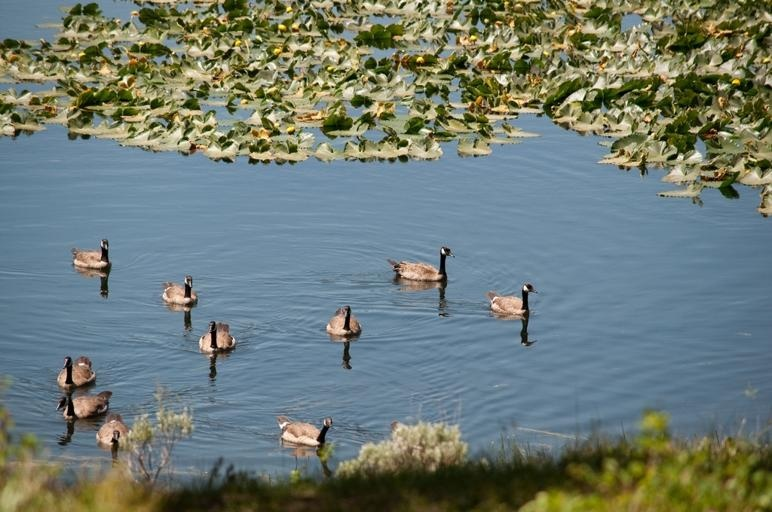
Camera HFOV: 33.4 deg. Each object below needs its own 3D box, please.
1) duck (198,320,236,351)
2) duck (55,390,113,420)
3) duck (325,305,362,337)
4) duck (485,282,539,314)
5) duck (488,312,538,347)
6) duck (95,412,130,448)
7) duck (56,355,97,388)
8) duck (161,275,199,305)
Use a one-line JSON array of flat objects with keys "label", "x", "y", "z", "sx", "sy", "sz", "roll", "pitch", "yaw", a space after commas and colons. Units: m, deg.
[{"label": "duck", "x": -4.648, "y": 2.166, "z": 35.276, "sx": 0.990, "sy": 0.834, "sz": 0.892, "roll": -7, "pitch": 10, "yaw": -34}, {"label": "duck", "x": -7.762, "y": 3.802, "z": 33.148, "sx": 1.174, "sy": 0.718, "sz": 0.607, "roll": -18, "pitch": 48, "yaw": -16}, {"label": "duck", "x": -1.211, "y": 1.723, "z": 35.997, "sx": 0.748, "sy": 0.727, "sz": 1.055, "roll": -1, "pitch": 28, "yaw": -4}, {"label": "duck", "x": 3.588, "y": 1.266, "z": 37.216, "sx": 1.247, "sy": 0.763, "sz": 1.169, "roll": 0, "pitch": 8, "yaw": 4}, {"label": "duck", "x": 3.845, "y": 2.131, "z": 35.918, "sx": 0.368, "sy": 0.678, "sz": 0.889, "roll": -7, "pitch": 21, "yaw": 3}, {"label": "duck", "x": -6.897, "y": 4.415, "z": 32.272, "sx": 0.664, "sy": 0.803, "sz": 1.256, "roll": 7, "pitch": 46, "yaw": -19}, {"label": "duck", "x": -8.185, "y": 3.122, "z": 33.946, "sx": 0.735, "sy": 0.783, "sz": 1.009, "roll": 2, "pitch": 38, "yaw": -7}, {"label": "duck", "x": -6.015, "y": 0.986, "z": 37.196, "sx": 1.128, "sy": 0.840, "sz": 0.615, "roll": 2, "pitch": 9, "yaw": 18}]
